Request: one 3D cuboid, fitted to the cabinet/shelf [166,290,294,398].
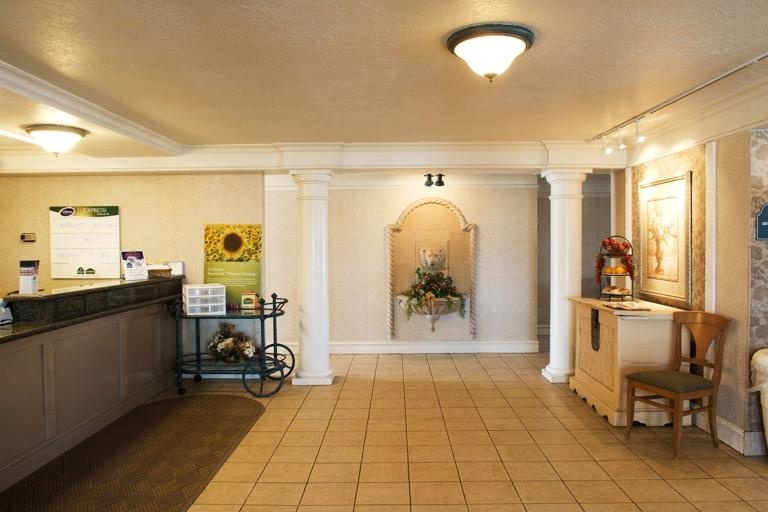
[{"bbox_3d":[-2.091,1.295,7.775,2.003,1.261,1.207,1,-3,-4],"label":"cabinet/shelf"}]

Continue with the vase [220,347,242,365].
[{"bbox_3d":[-2.105,1.376,7.366,0.239,0.139,0.239,2,-5,-11],"label":"vase"}]

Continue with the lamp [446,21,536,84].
[{"bbox_3d":[0.883,-1.652,4.518,0.539,0.211,0.474,1,-6,-17],"label":"lamp"}]

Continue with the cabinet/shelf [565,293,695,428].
[{"bbox_3d":[3.038,1.240,6.695,0.999,1.084,1.525,-1,-1,2],"label":"cabinet/shelf"}]

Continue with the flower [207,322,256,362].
[{"bbox_3d":[-2.091,1.203,7.551,0.702,0.375,0.571,3,-2,8],"label":"flower"}]

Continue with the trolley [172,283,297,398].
[{"bbox_3d":[-2.131,1.270,7.657,1.717,1.036,1.000,0,-1,6],"label":"trolley"}]

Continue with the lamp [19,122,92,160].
[{"bbox_3d":[-3.705,-1.298,6.046,0.466,0.164,0.414,0,3,16],"label":"lamp"}]

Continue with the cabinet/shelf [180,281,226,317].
[{"bbox_3d":[-2.412,0.587,7.226,0.534,0.307,0.482,2,-1,-25],"label":"cabinet/shelf"}]

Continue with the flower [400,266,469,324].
[{"bbox_3d":[0.842,0.603,8.767,1.519,0.757,1.341,-2,0,13],"label":"flower"}]

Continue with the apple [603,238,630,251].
[{"bbox_3d":[2.915,-0.141,6.668,0.303,0.153,0.229,3,12,21],"label":"apple"}]
